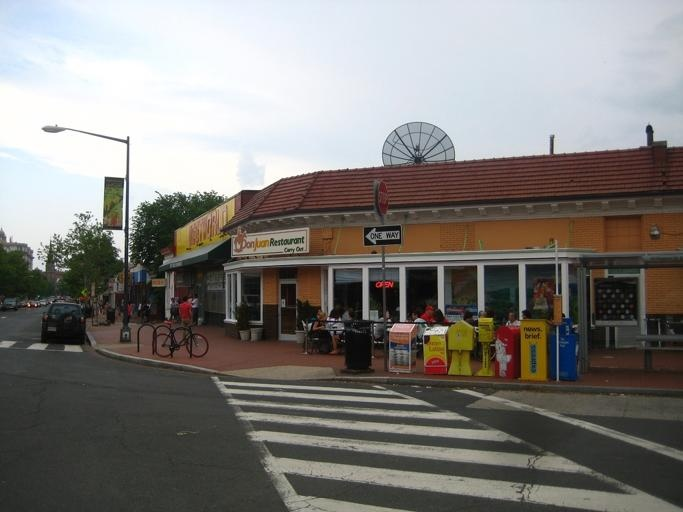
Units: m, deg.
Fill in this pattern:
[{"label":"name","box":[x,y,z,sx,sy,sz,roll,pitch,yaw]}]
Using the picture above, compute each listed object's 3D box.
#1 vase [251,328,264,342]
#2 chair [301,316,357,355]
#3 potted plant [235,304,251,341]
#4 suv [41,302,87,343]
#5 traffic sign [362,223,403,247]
[{"label":"vase","box":[-3.351,3.198,27.027,0.426,0.370,0.425,-4,-7,31]},{"label":"chair","box":[-0.534,2.647,22.152,1.783,1.319,1.152,0,-5,8]},{"label":"potted plant","box":[-3.939,2.699,27.365,0.536,1.535,0.865,3,-6,-22]},{"label":"suv","box":[-11.536,2.751,28.187,1.223,1.129,2.572,2,2,-15]},{"label":"traffic sign","box":[1.164,-0.548,18.479,0.878,0.498,0.042,-1,-4,24]}]
